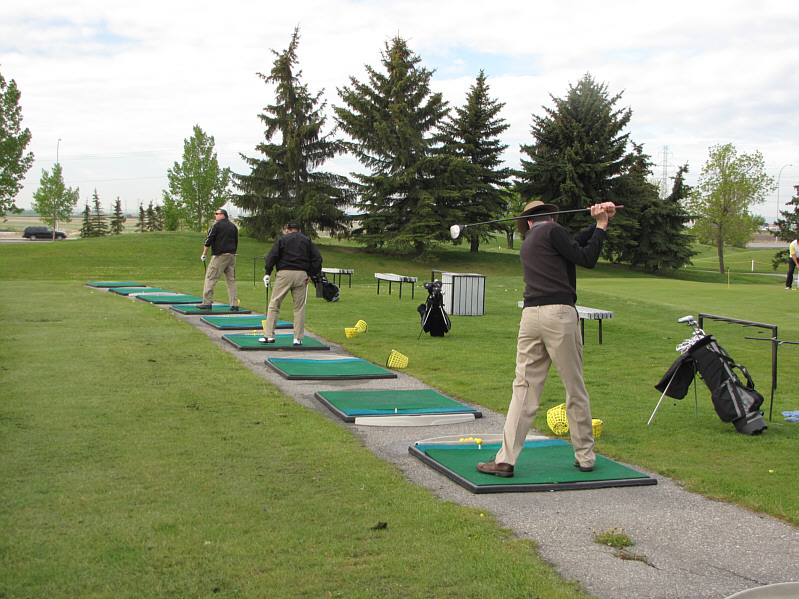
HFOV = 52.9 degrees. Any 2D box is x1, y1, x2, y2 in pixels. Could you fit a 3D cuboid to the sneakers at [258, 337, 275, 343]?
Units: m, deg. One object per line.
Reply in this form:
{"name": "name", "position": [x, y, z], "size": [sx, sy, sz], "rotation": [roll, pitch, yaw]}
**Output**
{"name": "sneakers", "position": [-2.458, 0.722, 14.651], "size": [0.264, 0.110, 0.113], "rotation": [5, 2, 22]}

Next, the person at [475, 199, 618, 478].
{"name": "person", "position": [1.414, 0.365, 7.752], "size": [1.144, 2.610, 0.668], "rotation": [1, 8, -4]}

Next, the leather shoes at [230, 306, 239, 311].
{"name": "leather shoes", "position": [-4.012, 0.207, 19.335], "size": [0.127, 0.094, 0.134], "rotation": [-1, -1, 16]}

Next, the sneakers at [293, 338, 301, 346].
{"name": "sneakers", "position": [-1.869, 0.765, 14.497], "size": [0.151, 0.143, 0.090], "rotation": [-12, 16, -41]}

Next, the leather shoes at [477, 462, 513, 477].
{"name": "leather shoes", "position": [0.915, 1.593, 7.682], "size": [0.304, 0.136, 0.134], "rotation": [9, -3, 27]}

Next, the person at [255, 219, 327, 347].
{"name": "person", "position": [-1.971, -0.292, 14.479], "size": [1.075, 2.196, 0.640], "rotation": [-1, 8, -19]}
